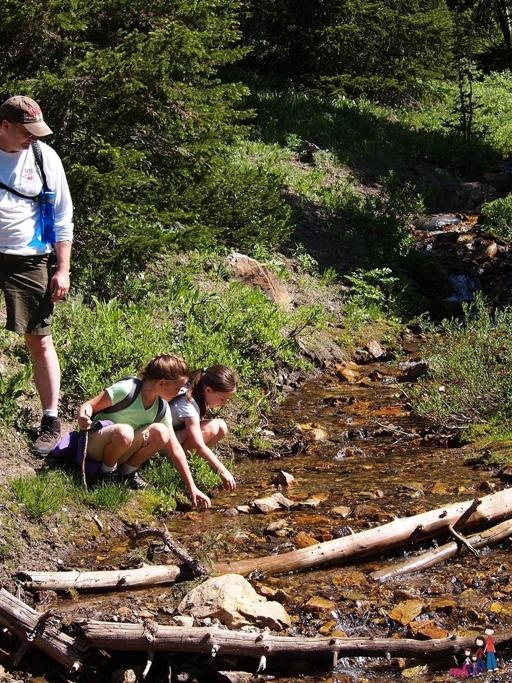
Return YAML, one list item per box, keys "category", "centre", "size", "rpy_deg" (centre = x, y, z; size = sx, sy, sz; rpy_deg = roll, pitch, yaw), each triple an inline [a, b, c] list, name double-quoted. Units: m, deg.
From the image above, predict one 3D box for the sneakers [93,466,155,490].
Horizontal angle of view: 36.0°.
- category: "sneakers"
  centre: [-0.895, 0.935, 5.347]
  size: [0.405, 0.158, 0.127]
  rpy_deg: [-2, 9, -16]

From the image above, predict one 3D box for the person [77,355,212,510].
- category: "person"
  centre: [-0.690, 0.535, 4.939]
  size: [0.955, 0.890, 0.630]
  rpy_deg: [5, -4, 19]
